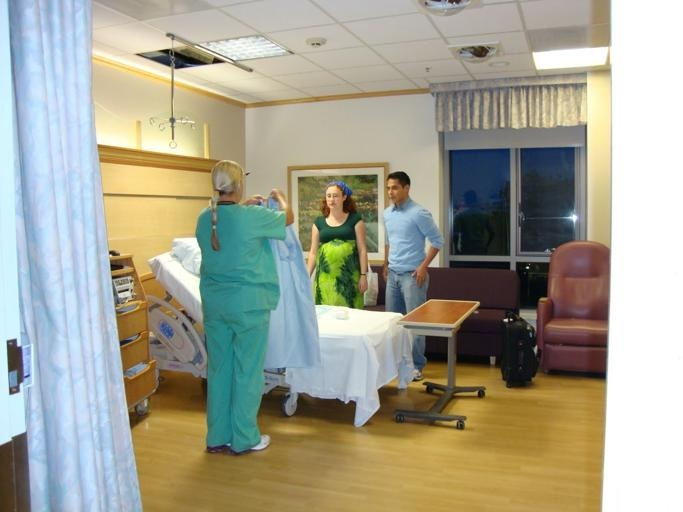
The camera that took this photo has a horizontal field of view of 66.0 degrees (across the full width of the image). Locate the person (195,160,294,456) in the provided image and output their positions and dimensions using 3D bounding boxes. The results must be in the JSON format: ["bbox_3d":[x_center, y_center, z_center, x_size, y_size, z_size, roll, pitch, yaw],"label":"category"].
[{"bbox_3d":[-0.643,0.344,3.492,0.580,1.938,0.295,-2,6,-12],"label":"person"}]

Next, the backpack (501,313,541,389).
[{"bbox_3d":[1.701,0.919,5.017,0.330,0.574,0.526,1,6,18],"label":"backpack"}]

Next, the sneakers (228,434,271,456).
[{"bbox_3d":[-0.605,1.287,3.581,0.087,0.116,0.249,6,8,34],"label":"sneakers"}]

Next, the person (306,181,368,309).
[{"bbox_3d":[-0.090,0.055,5.259,0.644,1.589,0.440,-4,26,-6],"label":"person"}]

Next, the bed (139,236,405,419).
[{"bbox_3d":[-0.488,0.564,4.540,1.919,1.302,1.237,0,3,16],"label":"bed"}]
